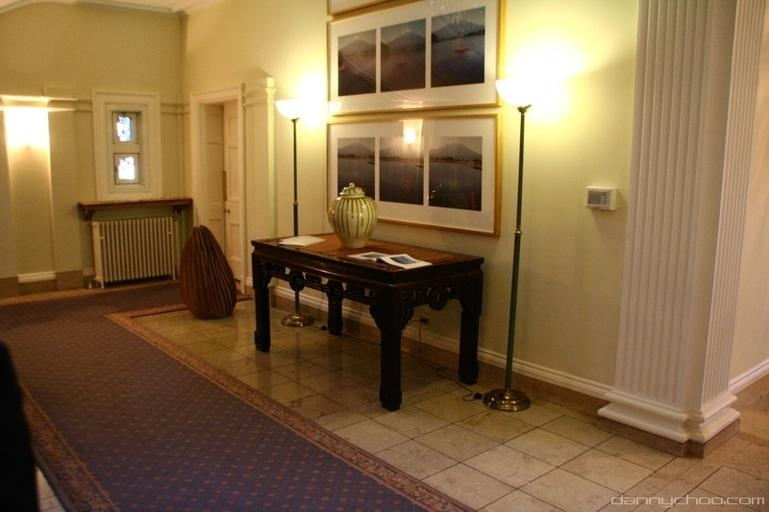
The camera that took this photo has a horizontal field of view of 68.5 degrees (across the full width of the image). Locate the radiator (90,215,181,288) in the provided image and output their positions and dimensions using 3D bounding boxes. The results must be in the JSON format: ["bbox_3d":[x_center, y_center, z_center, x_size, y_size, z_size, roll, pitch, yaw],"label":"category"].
[{"bbox_3d":[-3.741,-0.079,8.346,1.136,0.825,0.276,-5,7,-37],"label":"radiator"}]

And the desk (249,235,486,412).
[{"bbox_3d":[-0.272,0.499,5.694,2.222,1.118,1.241,10,13,44],"label":"desk"}]
